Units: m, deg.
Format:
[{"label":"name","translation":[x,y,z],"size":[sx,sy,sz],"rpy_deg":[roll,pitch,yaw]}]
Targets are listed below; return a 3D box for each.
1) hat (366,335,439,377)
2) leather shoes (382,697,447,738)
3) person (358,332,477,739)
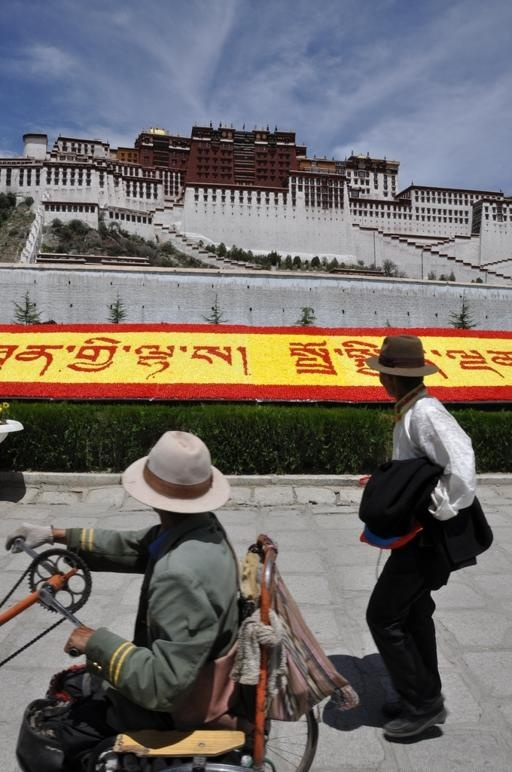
[{"label":"hat","translation":[0.511,-0.102,2.680],"size":[0.173,0.081,0.188],"rpy_deg":[-2,19,-16]},{"label":"leather shoes","translation":[0.529,1.132,2.532],"size":[0.252,0.126,0.093],"rpy_deg":[-3,-14,-19]},{"label":"person","translation":[0.567,0.500,2.573],"size":[0.345,1.330,0.481],"rpy_deg":[2,7,9]}]
